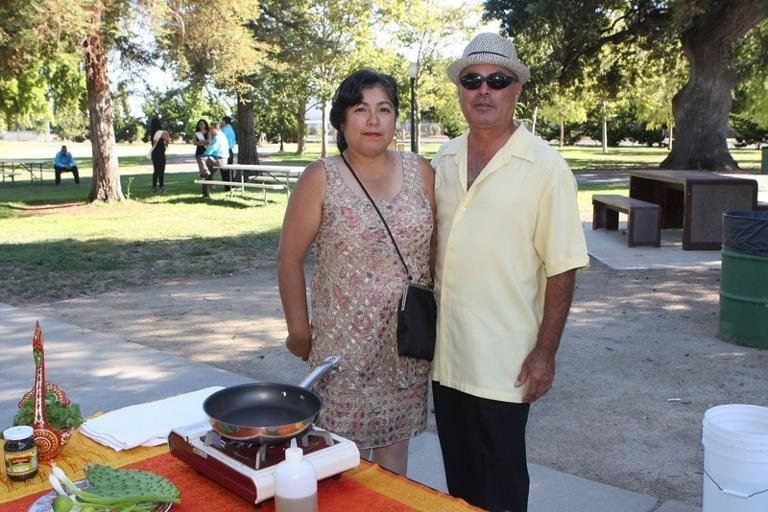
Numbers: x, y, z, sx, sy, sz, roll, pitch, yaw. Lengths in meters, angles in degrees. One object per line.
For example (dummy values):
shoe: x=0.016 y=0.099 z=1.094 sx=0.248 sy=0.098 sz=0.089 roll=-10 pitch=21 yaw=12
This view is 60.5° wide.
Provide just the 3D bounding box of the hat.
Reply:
hat: x=0.622 y=-1.206 z=3.934 sx=0.462 sy=0.226 sz=0.500 roll=3 pitch=5 yaw=-2

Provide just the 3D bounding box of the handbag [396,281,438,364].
handbag: x=0.175 y=0.374 z=3.734 sx=0.153 sy=0.434 sz=0.339 roll=12 pitch=-1 yaw=36

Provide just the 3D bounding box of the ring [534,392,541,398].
ring: x=0.860 y=0.779 z=3.678 sx=0.023 sy=0.015 sz=0.033 roll=-9 pitch=2 yaw=23

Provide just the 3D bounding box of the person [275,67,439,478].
person: x=-0.088 y=0.105 z=3.989 sx=0.903 sy=2.356 sz=0.818 roll=1 pitch=1 yaw=40

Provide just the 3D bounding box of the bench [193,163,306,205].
bench: x=-3.934 y=-2.057 z=18.674 sx=2.363 sy=0.751 sz=2.090 roll=10 pitch=21 yaw=28

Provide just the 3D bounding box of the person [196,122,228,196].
person: x=-5.173 y=-3.237 z=20.026 sx=0.874 sy=1.687 sz=0.821 roll=-4 pitch=12 yaw=-15

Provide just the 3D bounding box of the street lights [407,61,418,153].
street lights: x=1.020 y=-5.375 z=22.784 sx=0.360 sy=2.341 sz=0.338 roll=-15 pitch=24 yaw=-33

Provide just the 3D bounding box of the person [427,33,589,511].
person: x=0.801 y=0.041 z=3.971 sx=0.916 sy=2.964 sz=0.875 roll=-1 pitch=2 yaw=-41
